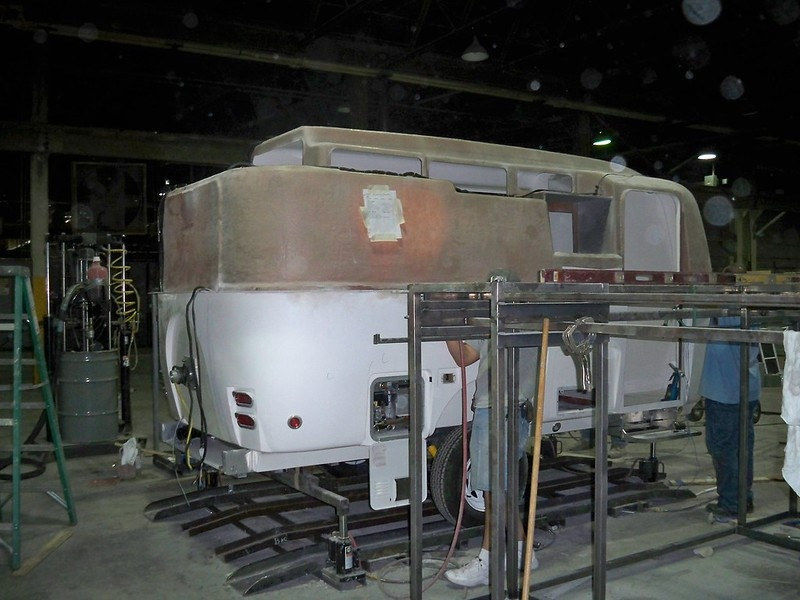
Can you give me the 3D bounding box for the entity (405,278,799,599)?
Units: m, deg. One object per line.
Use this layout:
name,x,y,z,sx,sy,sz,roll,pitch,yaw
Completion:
entity,1.518,1.235,6.174,2.923,2.848,2.830,-2,2,-1

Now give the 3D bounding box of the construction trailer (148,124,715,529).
construction trailer,0.689,-0.165,9.306,6.650,3.670,3.474,-2,2,-29

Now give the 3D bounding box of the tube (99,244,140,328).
tube,-4.793,-0.227,12.671,0.514,1.464,0.502,0,-5,-41

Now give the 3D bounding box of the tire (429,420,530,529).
tire,0.719,1.582,6.794,1.179,1.228,0.405,15,-12,-36

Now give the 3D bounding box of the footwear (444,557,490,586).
footwear,0.656,2.562,6.986,0.495,0.252,0.192,2,-4,-10
